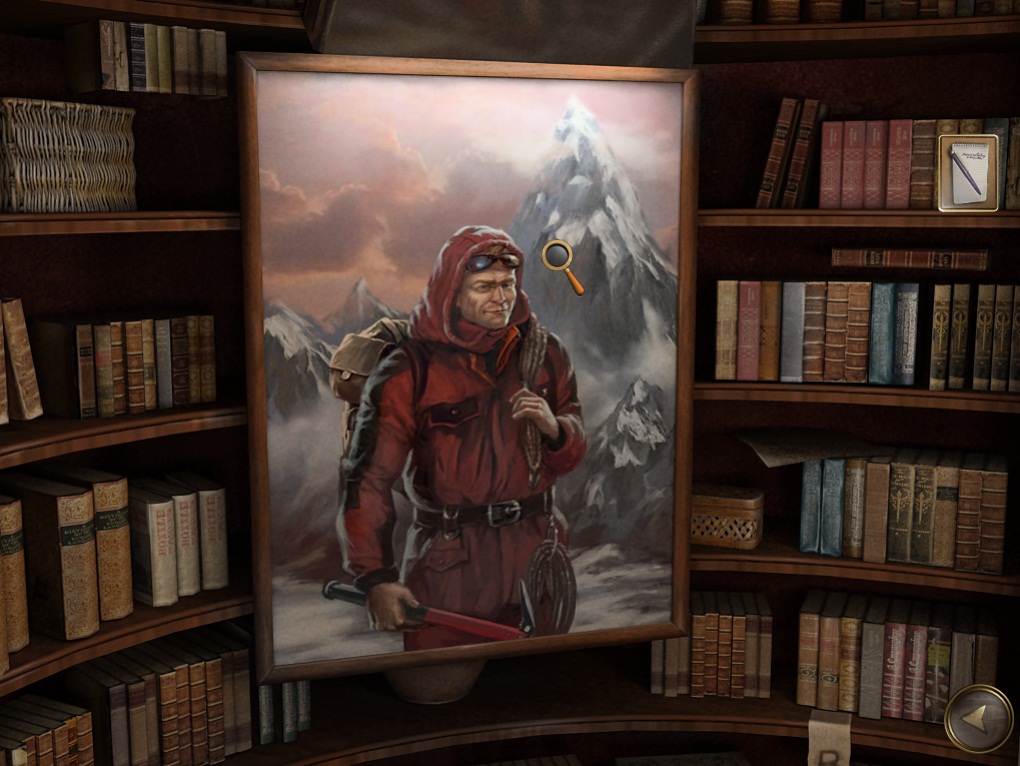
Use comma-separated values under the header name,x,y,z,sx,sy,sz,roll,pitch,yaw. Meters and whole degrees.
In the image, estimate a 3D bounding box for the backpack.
name,x,y,z,sx,sy,sz,roll,pitch,yaw
backpack,-0.324,-0.021,2.646,0.255,0.196,0.274,14,-78,16

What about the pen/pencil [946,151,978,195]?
name,x,y,z,sx,sy,sz,roll,pitch,yaw
pen/pencil,1.258,-0.575,2.698,0.020,0.126,0.023,-24,-10,-39
